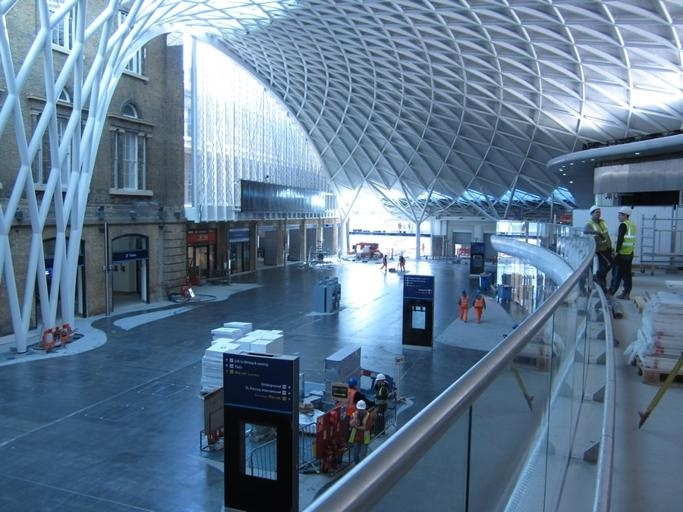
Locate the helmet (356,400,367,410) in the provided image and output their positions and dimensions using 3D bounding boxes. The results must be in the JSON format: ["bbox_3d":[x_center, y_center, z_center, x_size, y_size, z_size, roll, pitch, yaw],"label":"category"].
[{"bbox_3d":[0.497,3.726,13.225,0.166,0.118,0.223,4,11,9],"label":"helmet"}]

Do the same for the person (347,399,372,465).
[{"bbox_3d":[0.468,4.430,13.208,0.528,1.589,1.040,1,3,1],"label":"person"}]

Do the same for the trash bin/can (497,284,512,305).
[{"bbox_3d":[10.862,2.571,35.289,1.101,1.281,1.122,3,5,36],"label":"trash bin/can"}]

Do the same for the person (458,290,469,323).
[{"bbox_3d":[6.688,2.723,28.776,0.403,1.529,1.407,1,3,12],"label":"person"}]

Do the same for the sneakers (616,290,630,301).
[{"bbox_3d":[6.801,0.928,12.724,0.242,0.211,0.417,3,4,28],"label":"sneakers"}]
